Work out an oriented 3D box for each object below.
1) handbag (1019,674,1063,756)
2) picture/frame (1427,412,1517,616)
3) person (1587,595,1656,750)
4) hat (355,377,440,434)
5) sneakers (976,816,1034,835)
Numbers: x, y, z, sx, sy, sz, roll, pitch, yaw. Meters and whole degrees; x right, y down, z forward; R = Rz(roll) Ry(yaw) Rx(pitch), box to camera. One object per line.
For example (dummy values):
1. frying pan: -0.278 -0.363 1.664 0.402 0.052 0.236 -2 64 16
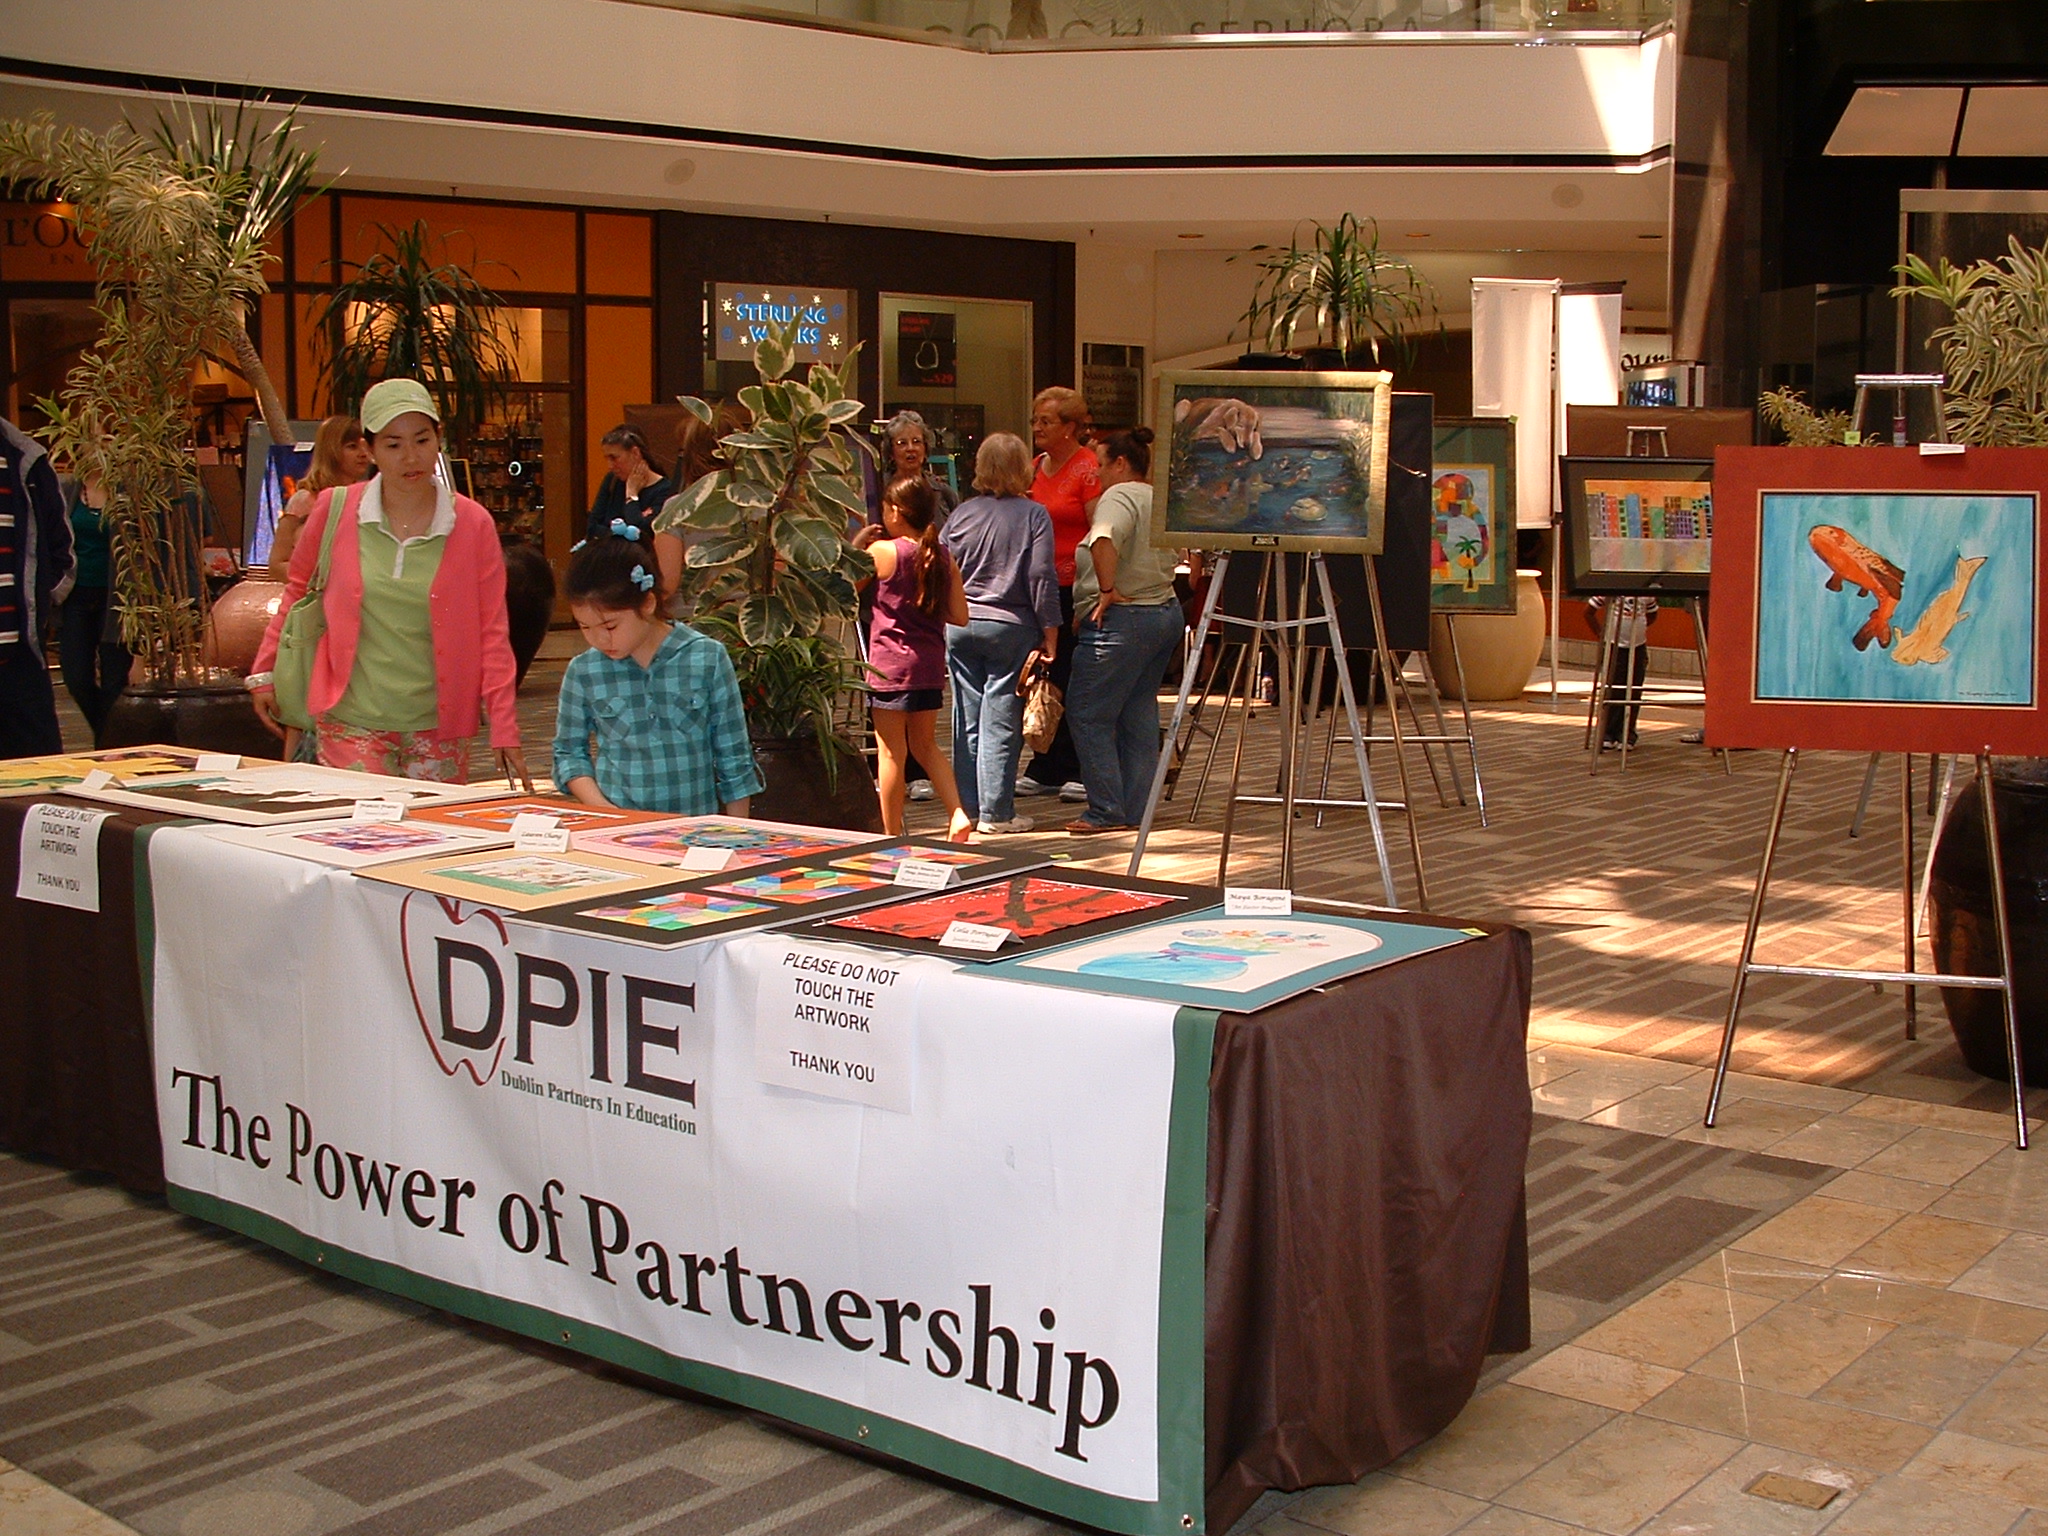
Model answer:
1. handbag: 0.070 -0.282 8.022 0.168 0.424 0.337 5 17 23
2. picture/frame: 2.929 -1.646 10.232 0.521 1.253 0.583 2 8 12
3. person: 4.034 -0.633 10.560 0.315 1.003 1.426 4 9 20
4. hat: -1.625 -0.927 4.040 0.160 0.151 0.307 -2 9 -21
5. sneakers: -0.102 0.304 7.701 0.278 0.121 0.096 -5 12 3
